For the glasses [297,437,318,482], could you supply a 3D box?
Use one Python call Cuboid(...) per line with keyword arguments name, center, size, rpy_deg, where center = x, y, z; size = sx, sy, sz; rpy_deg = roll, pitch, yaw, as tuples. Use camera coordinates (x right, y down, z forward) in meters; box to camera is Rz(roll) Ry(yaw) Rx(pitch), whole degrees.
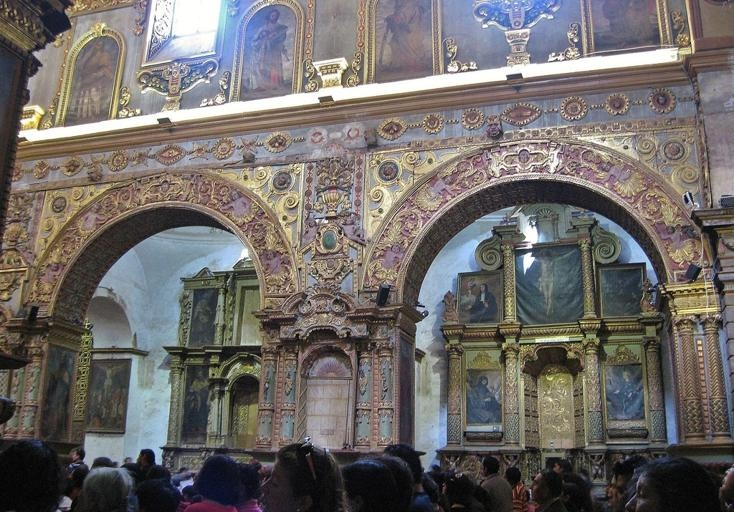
Cuboid(name="glasses", center=(-0.494, 1.752, 6.678), size=(0.144, 0.294, 0.200), rpy_deg=(-8, -12, 8))
